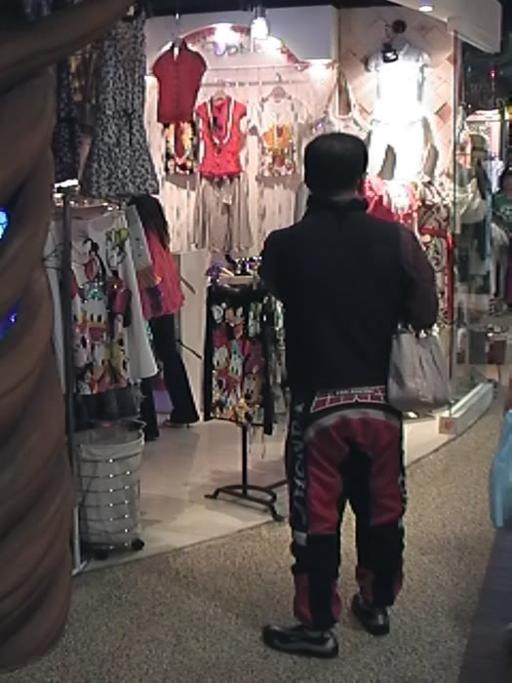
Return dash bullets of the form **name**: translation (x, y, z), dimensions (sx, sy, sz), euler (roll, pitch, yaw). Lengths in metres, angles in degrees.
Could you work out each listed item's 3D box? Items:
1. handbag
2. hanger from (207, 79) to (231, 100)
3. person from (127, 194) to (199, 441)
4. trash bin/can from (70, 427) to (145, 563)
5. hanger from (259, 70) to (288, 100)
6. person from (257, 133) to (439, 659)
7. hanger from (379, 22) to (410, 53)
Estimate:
- **handbag**: translation (0.374, 0.075, 1.346), dimensions (0.109, 0.194, 0.076), euler (2, -17, -13)
- **hanger**: translation (-0.225, -1.527, 3.624), dimensions (0.091, 0.112, 0.029), euler (1, 10, 6)
- **person**: translation (-0.407, -0.016, 2.743), dimensions (0.269, 1.220, 0.998), euler (0, 5, -8)
- **trash bin/can**: translation (-0.530, 0.534, 2.181), dimensions (0.223, 0.465, 0.278), euler (0, 0, 23)
- **hanger**: translation (0.104, -1.484, 3.513), dimensions (0.132, 0.214, 0.139), euler (6, 10, 22)
- **person**: translation (0.227, 0.125, 1.470), dimensions (0.289, 1.223, 0.297), euler (-1, 15, 6)
- **hanger**: translation (0.890, -1.931, 3.801), dimensions (0.090, 0.241, 0.087), euler (-10, 38, -27)
